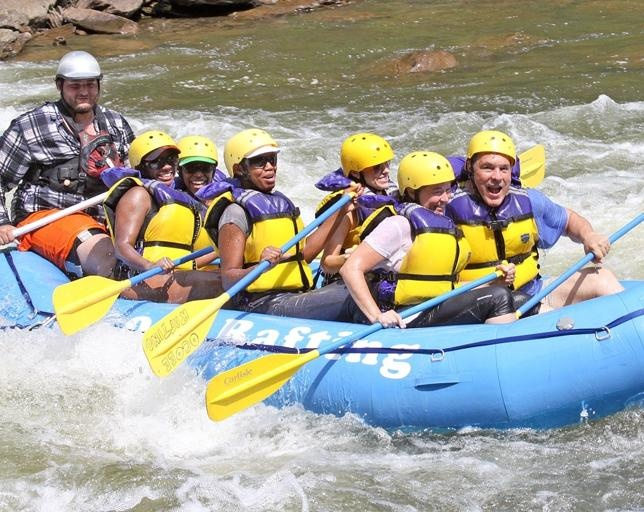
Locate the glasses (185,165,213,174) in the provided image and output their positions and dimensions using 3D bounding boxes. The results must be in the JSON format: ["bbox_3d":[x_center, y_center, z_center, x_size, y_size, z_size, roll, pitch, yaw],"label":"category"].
[{"bbox_3d":[-0.941,-0.666,5.853,0.107,0.036,0.118,0,-13,-2],"label":"glasses"}]

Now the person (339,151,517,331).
[{"bbox_3d":[0.813,-0.094,4.979,1.510,1.085,0.910,3,11,4],"label":"person"}]

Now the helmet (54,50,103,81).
[{"bbox_3d":[-2.000,-1.552,6.235,0.354,0.243,0.276,-10,15,-13],"label":"helmet"}]

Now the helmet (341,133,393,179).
[{"bbox_3d":[0.309,-0.737,5.415,0.393,0.233,0.270,11,25,30],"label":"helmet"}]

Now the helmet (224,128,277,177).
[{"bbox_3d":[-0.490,-0.733,5.352,0.417,0.249,0.310,-6,1,41],"label":"helmet"}]

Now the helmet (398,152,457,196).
[{"bbox_3d":[0.659,-0.542,4.929,0.358,0.225,0.277,23,26,35],"label":"helmet"}]

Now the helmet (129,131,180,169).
[{"bbox_3d":[-1.343,-0.841,5.997,0.314,0.187,0.370,-13,4,-27],"label":"helmet"}]
